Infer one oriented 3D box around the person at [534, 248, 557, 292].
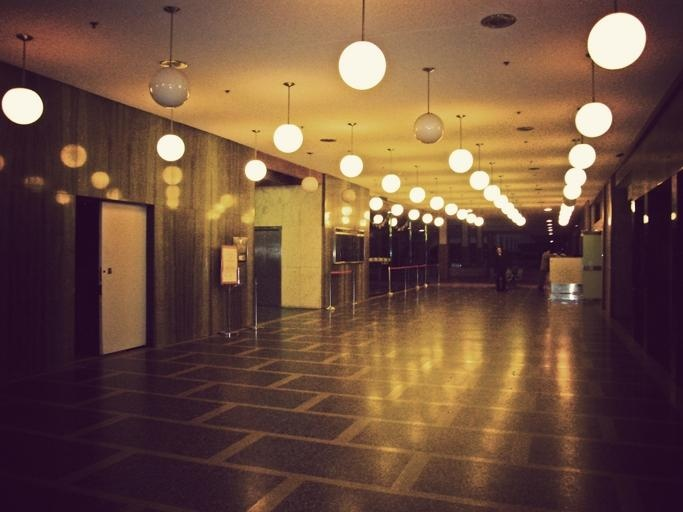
[{"bbox_3d":[7.790,0.616,22.634,0.499,1.541,3.969,2,6,20],"label":"person"}]
